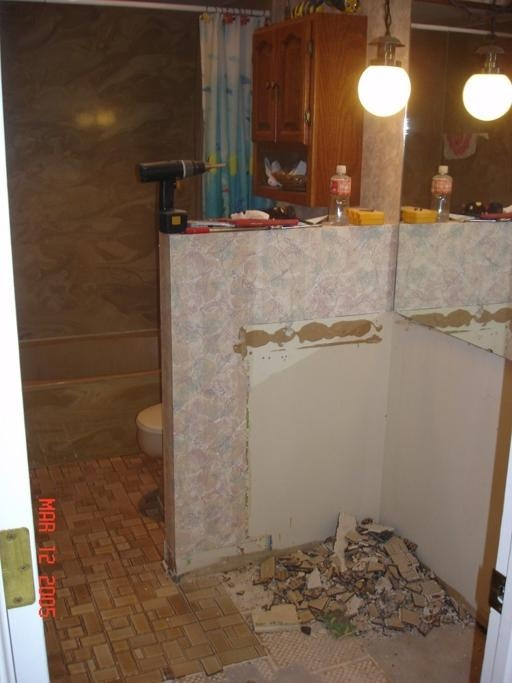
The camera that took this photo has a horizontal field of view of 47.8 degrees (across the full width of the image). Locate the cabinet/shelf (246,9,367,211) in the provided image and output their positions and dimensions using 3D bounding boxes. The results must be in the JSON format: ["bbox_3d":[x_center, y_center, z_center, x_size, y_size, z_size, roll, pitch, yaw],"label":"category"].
[{"bbox_3d":[0.207,-0.958,2.452,0.278,0.763,0.629,-3,12,-20],"label":"cabinet/shelf"}]

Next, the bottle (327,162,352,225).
[{"bbox_3d":[0.318,-0.554,2.209,0.074,0.214,0.159,2,11,7],"label":"bottle"}]

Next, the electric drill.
[{"bbox_3d":[-0.296,-0.506,2.013,0.300,0.249,0.195,-4,22,-25],"label":"electric drill"}]

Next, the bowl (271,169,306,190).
[{"bbox_3d":[0.147,-0.697,2.525,0.115,0.049,0.115,3,5,0],"label":"bowl"}]
